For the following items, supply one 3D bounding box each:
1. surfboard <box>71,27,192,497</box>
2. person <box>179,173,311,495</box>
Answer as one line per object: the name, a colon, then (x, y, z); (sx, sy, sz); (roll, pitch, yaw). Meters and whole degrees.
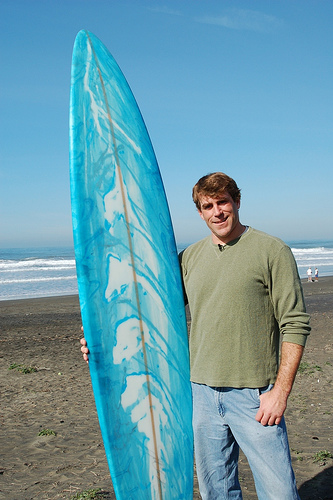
surfboard: (-0.197, 0.013, 2.625); (0.598, 2.313, 0.561); (-2, 0, -23)
person: (0.289, 0.352, 2.162); (0.208, 1.261, 0.583); (-3, 0, -45)
